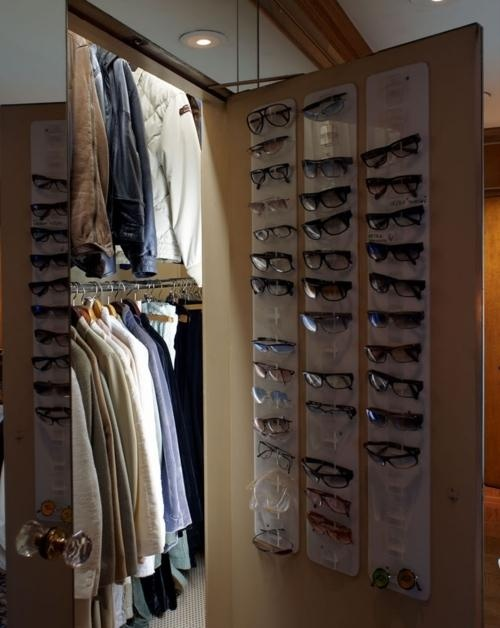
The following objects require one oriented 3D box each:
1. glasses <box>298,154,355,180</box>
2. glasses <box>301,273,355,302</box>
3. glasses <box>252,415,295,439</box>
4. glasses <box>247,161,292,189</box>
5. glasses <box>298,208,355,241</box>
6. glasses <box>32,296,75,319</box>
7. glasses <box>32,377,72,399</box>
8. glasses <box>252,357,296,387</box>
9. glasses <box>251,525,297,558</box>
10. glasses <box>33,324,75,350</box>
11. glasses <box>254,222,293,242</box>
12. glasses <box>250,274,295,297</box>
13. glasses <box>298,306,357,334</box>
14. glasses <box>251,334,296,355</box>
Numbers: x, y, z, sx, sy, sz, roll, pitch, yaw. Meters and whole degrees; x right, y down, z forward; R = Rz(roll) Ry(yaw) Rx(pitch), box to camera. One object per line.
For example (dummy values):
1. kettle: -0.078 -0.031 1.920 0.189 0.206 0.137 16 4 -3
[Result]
1. glasses: 0.193 -0.373 1.445 0.135 0.060 0.036 1 2 40
2. glasses: 0.194 -0.064 1.456 0.045 0.061 0.133 -3 2 -43
3. glasses: 0.061 0.307 1.581 0.121 0.055 0.016 1 2 40
4. glasses: 0.053 -0.382 1.577 0.139 0.061 0.029 1 2 45
5. glasses: 0.193 -0.225 1.450 0.136 0.064 0.025 0 2 37
6. glasses: -0.366 -0.014 1.088 0.041 0.037 0.094 0 2 20
7. glasses: -0.371 0.138 1.073 0.066 0.035 0.011 -2 2 -29
8. glasses: 0.065 0.160 1.582 0.133 0.054 0.019 1 2 43
9. glasses: 0.064 0.624 1.585 0.080 0.025 0.080 -2 4 -39
10. glasses: -0.365 0.043 1.093 0.041 0.038 0.092 0 2 17
11. glasses: 0.062 -0.226 1.572 0.143 0.045 0.026 1 2 43
12. glasses: 0.059 -0.078 1.570 0.134 0.058 0.026 0 2 39
13. glasses: 0.184 0.019 1.468 0.164 0.053 0.036 1 2 42
14. glasses: 0.063 0.082 1.578 0.144 0.041 0.024 1 2 41
